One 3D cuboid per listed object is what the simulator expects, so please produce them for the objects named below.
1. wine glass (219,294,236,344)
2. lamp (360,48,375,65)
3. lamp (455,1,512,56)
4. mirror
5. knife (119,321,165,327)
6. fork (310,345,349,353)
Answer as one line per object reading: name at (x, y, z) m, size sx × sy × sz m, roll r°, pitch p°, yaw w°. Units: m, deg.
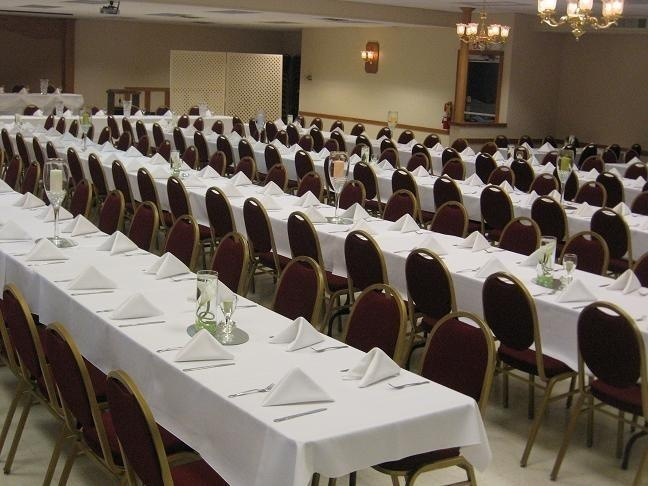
wine glass at (-0.482, 0.332, 2.703) m, size 0.077 × 0.261 × 0.267 m, roll -2°, pitch 15°, yaw -11°
lamp at (1.386, -5.891, 16.938) m, size 0.267 × 0.403 × 0.625 m, roll -10°, pitch 18°, yaw -34°
lamp at (3.792, -5.127, 12.687) m, size 1.229 × 1.047 × 4.988 m, roll 5°, pitch 17°, yaw 17°
mirror at (4.223, -4.135, 14.507) m, size 1.089 × 2.351 × 0.142 m, roll 10°, pitch 51°, yaw 23°
knife at (-0.962, 0.425, 2.828) m, size 0.225 × 0.006 × 0.062 m, roll -4°, pitch 17°, yaw -16°
fork at (0.021, 0.519, 2.627) m, size 0.132 × 0.024 × 0.016 m, roll -4°, pitch 8°, yaw -33°
